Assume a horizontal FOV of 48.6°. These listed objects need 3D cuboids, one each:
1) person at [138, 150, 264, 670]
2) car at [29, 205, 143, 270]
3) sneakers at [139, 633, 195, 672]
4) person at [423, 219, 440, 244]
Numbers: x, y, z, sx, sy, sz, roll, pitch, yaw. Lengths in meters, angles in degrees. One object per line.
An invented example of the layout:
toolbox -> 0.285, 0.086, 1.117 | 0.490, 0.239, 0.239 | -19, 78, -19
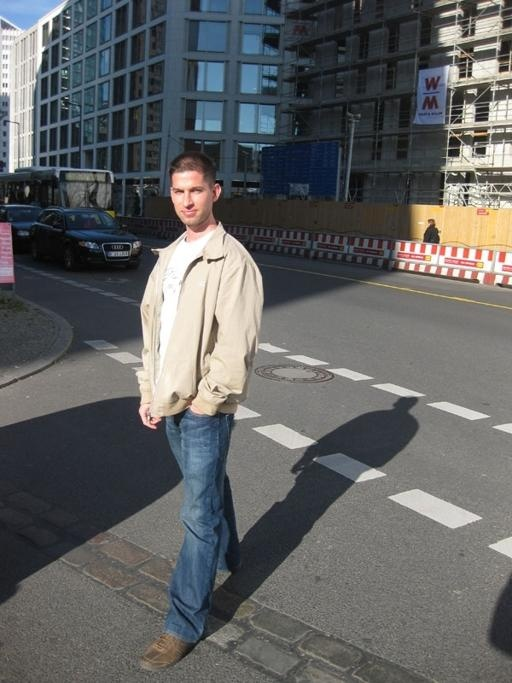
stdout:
person -> -0.222, 0.208, 2.232 | 0.475, 1.934, 0.699 | 1, 6, -11
car -> -5.826, -3.473, 19.194 | 3.966, 2.106, 1.793 | 7, 8, 43
sneakers -> -0.324, 1.097, 2.007 | 0.068, 0.063, 0.180 | 19, -1, 22
person -> 8.384, -5.285, 27.139 | 0.600, 1.164, 1.067 | 4, 6, 16
